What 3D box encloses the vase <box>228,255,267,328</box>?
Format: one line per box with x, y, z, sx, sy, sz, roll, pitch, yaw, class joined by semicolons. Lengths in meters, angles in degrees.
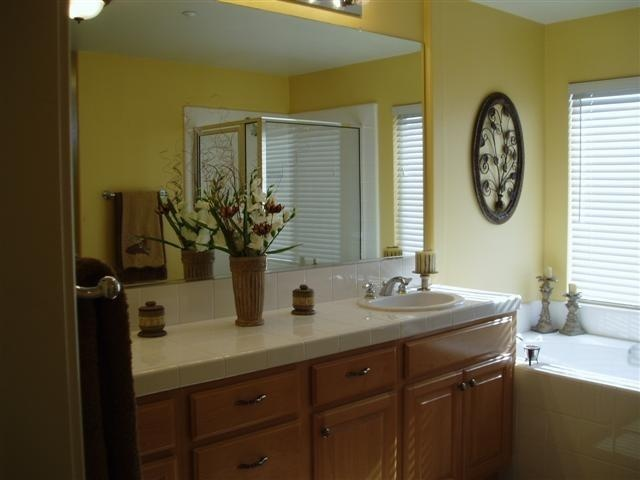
-0.297;0.207;2.137;0.157;0.274;0.162;-1;-2;30;vase

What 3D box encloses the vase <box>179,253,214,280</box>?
-0.537;0.119;2.226;0.111;0.133;0.115;-3;-4;35;vase

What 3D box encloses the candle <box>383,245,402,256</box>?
0.426;0.055;2.956;0.072;0.051;0.073;0;1;-30;candle

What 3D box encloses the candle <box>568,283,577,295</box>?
1.836;0.355;3.655;0.061;0.095;0.079;5;-4;41;candle

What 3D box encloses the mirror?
-0.348;-0.430;2.312;1.501;1.027;0.788;-2;1;-41;mirror

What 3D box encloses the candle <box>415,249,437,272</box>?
0.593;0.113;2.831;0.104;0.129;0.110;1;2;18;candle
